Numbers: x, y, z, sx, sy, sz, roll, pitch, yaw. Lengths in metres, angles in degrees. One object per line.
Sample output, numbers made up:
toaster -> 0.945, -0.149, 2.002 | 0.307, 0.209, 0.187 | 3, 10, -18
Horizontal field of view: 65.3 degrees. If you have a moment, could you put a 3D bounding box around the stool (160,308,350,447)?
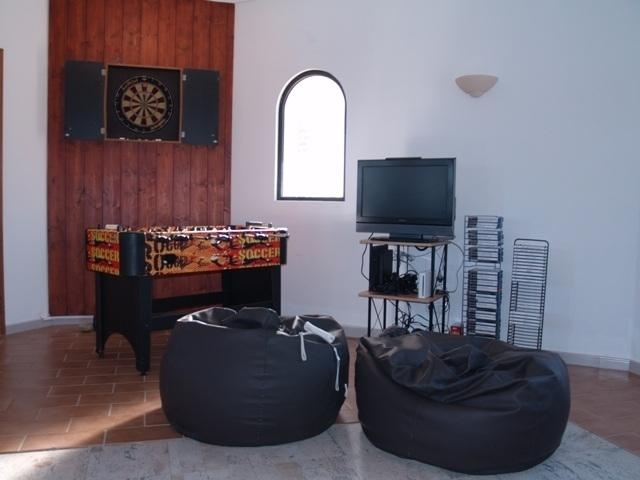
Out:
stool -> -0.395, 0.757, 3.270 | 0.888, 0.584, 0.939 | -2, -4, 8

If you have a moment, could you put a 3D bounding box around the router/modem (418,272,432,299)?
router/modem -> 0.947, 0.408, 4.506 | 0.090, 0.253, 0.224 | 0, -1, 17

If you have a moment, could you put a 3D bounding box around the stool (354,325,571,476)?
stool -> 0.851, 0.996, 3.125 | 1.325, 0.621, 0.659 | 3, 9, 15

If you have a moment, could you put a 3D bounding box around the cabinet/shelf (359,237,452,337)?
cabinet/shelf -> 0.855, 0.437, 4.793 | 0.786, 1.409, 0.689 | 4, 9, 26
